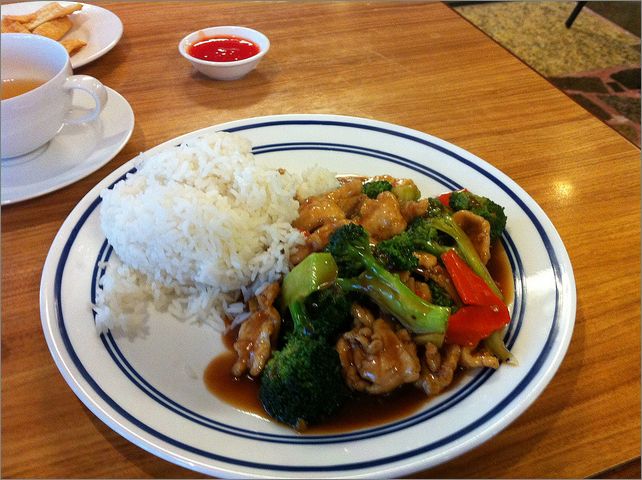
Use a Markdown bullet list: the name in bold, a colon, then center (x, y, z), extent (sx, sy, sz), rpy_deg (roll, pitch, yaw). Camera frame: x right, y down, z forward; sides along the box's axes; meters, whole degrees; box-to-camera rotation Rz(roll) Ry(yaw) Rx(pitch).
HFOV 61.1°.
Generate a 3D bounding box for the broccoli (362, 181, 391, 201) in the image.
- **broccoli**: center (0.331, -0.317, 3.310), extent (0.120, 0.067, 0.135), rpy_deg (-10, 24, 28)
